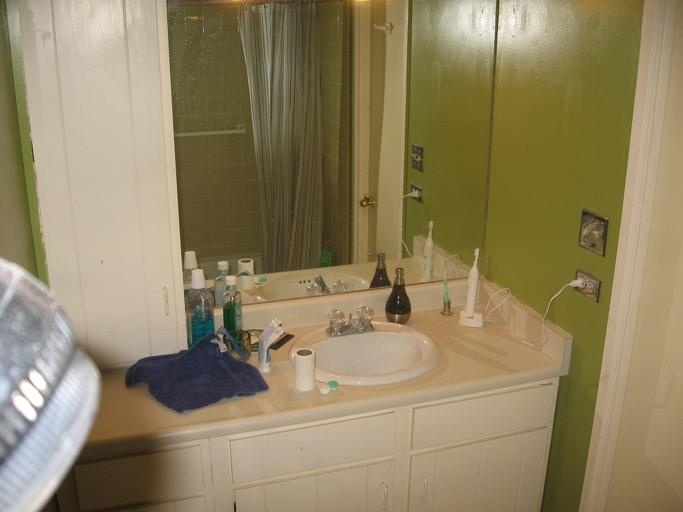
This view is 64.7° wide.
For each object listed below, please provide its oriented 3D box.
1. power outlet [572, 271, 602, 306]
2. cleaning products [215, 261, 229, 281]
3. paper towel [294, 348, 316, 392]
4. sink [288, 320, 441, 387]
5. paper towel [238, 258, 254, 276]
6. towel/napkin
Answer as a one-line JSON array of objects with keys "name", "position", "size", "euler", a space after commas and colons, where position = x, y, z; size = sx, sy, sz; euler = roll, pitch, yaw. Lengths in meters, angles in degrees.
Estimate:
[{"name": "power outlet", "position": [0.803, 0.103, 1.754], "size": [0.011, 0.084, 0.082], "euler": [-12, 28, -16]}, {"name": "cleaning products", "position": [-0.438, 0.055, 1.972], "size": [0.052, 0.065, 0.056], "euler": [0, 13, -10]}, {"name": "paper towel", "position": [-0.117, 0.368, 1.702], "size": [0.065, 0.129, 0.118], "euler": [0, 9, -4]}, {"name": "sink", "position": [0.081, 0.348, 1.905], "size": [0.526, 0.171, 0.339], "euler": [6, 5, -5]}, {"name": "paper towel", "position": [-0.358, 0.043, 2.019], "size": [0.039, 0.070, 0.066], "euler": [1, 6, -7]}, {"name": "towel/napkin", "position": [-0.473, 0.388, 1.728], "size": [0.243, 0.094, 0.259], "euler": [-2, 20, -36]}]
